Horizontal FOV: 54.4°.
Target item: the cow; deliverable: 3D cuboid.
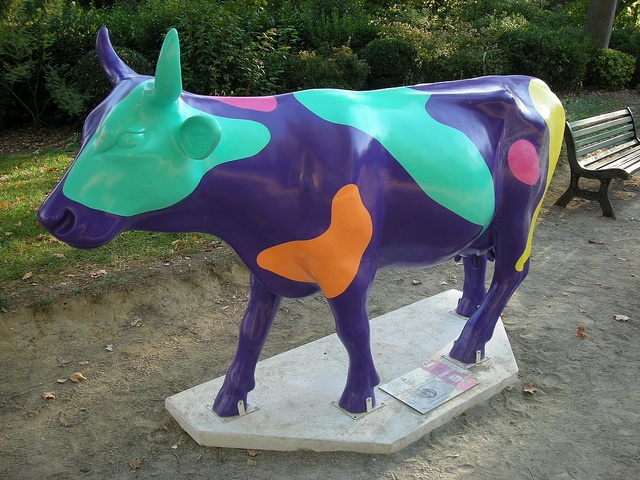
[{"bbox_3d":[0.049,-0.181,4.642,3.657,2.827,1.213,-15,31,-23],"label":"cow"}]
